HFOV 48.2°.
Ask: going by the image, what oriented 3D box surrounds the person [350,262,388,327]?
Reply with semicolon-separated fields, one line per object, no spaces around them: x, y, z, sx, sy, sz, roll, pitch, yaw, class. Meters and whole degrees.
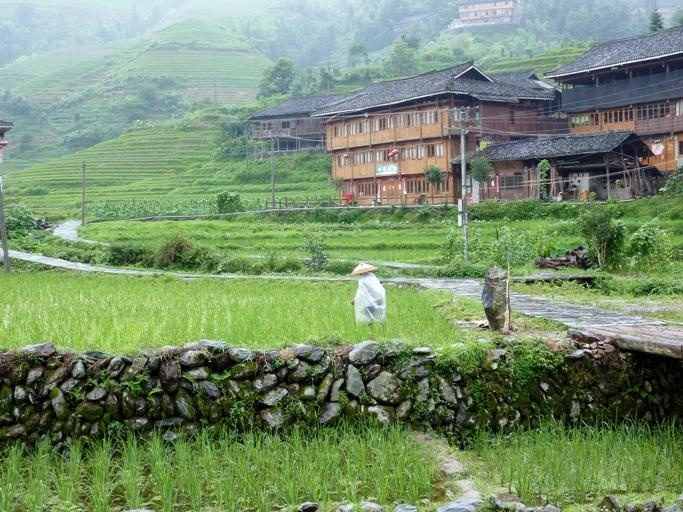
0.509;0.680;13.976;0.582;1.046;0.611;-2;6;43;person
